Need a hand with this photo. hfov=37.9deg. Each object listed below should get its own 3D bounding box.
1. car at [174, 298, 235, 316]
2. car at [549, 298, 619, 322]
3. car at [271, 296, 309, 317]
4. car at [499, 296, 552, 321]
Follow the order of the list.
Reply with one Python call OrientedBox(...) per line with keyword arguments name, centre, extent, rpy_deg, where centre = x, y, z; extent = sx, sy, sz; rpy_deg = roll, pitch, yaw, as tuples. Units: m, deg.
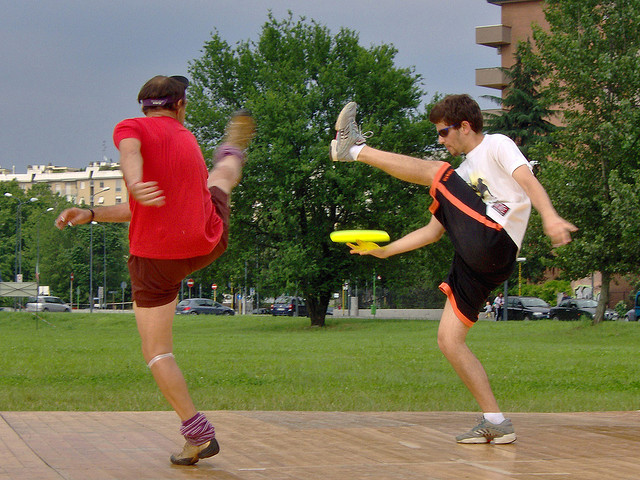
OrientedBox(name="car", centre=(-7.799, 4.465, 62.745), extent=(3.405, 1.126, 3.882), rpy_deg=(-1, -5, -4))
OrientedBox(name="car", centre=(12.618, 3.451, 46.637), extent=(2.209, 1.019, 3.064), rpy_deg=(-3, -5, 20))
OrientedBox(name="car", centre=(-1.885, 4.537, 64.290), extent=(1.736, 1.146, 3.016), rpy_deg=(0, 1, 32))
OrientedBox(name="car", centre=(10.821, 3.494, 47.831), extent=(1.288, 0.885, 2.089), rpy_deg=(3, -8, -39))
